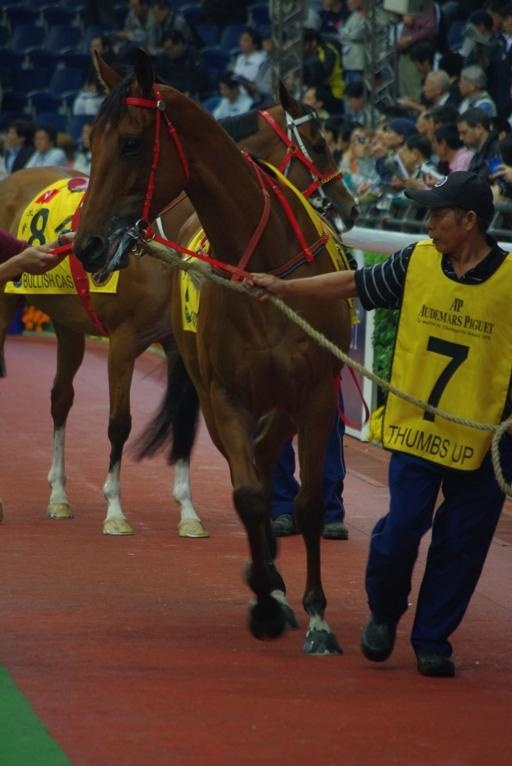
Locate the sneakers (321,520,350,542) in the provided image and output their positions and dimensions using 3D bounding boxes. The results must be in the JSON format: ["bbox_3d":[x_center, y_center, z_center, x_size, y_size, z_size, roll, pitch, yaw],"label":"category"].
[{"bbox_3d":[0.445,0.825,4.623,0.148,0.140,0.363,1,-11,-3],"label":"sneakers"}]

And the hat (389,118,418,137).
[{"bbox_3d":[1.432,-2.416,7.835,0.258,0.161,0.300,-11,28,-36],"label":"hat"}]

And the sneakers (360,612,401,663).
[{"bbox_3d":[0.408,0.849,2.738,0.098,0.161,0.072,12,-2,3],"label":"sneakers"}]

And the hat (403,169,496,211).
[{"bbox_3d":[0.581,-0.579,2.499,0.240,0.084,0.135,2,7,-2],"label":"hat"}]

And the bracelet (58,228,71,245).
[{"bbox_3d":[-0.740,-0.560,3.183,0.053,0.062,0.246,1,22,-13],"label":"bracelet"}]
